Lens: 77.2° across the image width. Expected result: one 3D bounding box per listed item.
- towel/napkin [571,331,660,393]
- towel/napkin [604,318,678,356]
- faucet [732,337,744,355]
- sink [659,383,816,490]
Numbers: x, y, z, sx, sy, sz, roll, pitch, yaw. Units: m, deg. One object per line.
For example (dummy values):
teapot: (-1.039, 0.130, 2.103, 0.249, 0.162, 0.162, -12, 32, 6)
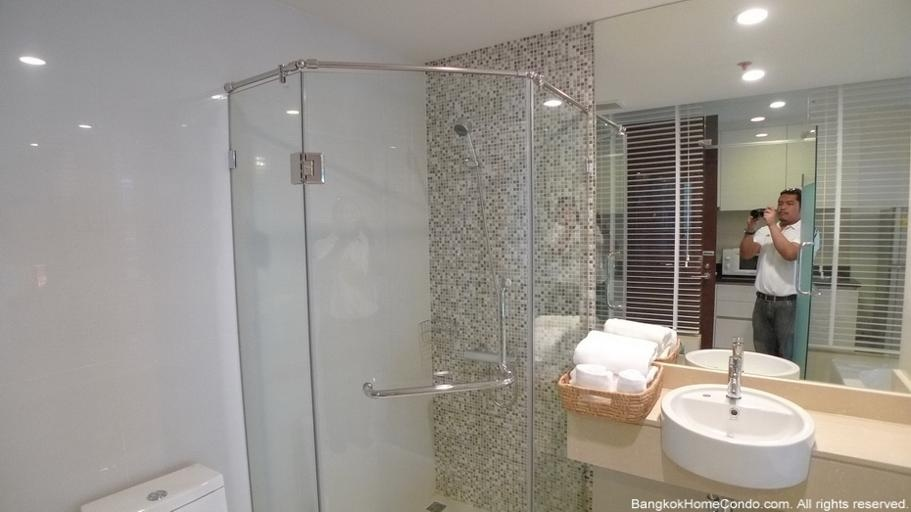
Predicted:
towel/napkin: (1.088, 0.685, 3.831, 0.416, 0.184, 0.395, 4, 10, 29)
towel/napkin: (1.309, 0.535, 4.066, 0.318, 0.104, 0.321, 2, 2, 38)
faucet: (1.841, 0.578, 3.745, 0.053, 0.110, 0.133, -4, 6, 23)
sink: (1.740, 1.120, 3.561, 0.855, 0.529, 0.517, -4, 7, 19)
